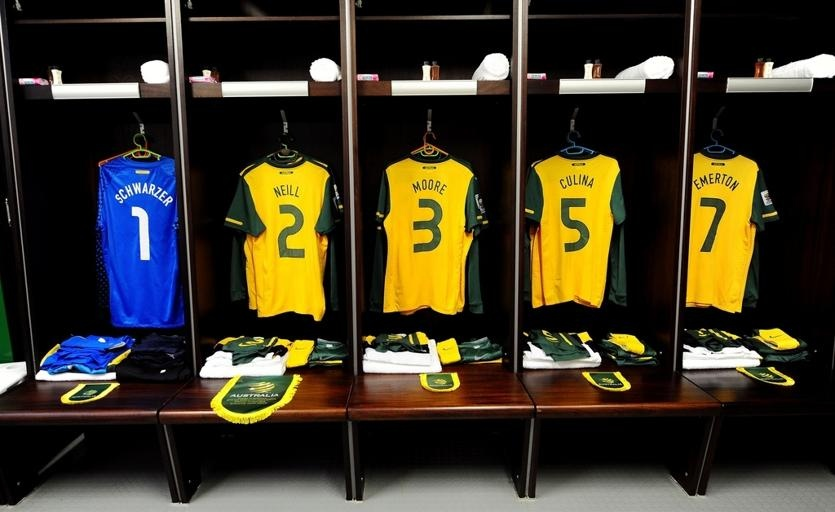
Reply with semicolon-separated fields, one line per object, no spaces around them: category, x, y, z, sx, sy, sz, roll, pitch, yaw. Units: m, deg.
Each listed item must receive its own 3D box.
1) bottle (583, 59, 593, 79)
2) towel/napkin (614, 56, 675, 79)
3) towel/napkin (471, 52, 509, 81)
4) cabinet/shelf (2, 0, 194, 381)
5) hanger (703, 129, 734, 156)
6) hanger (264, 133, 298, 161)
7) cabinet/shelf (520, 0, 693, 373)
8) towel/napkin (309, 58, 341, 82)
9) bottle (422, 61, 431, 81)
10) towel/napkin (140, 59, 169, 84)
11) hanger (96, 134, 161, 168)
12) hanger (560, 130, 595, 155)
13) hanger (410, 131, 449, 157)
bottle;1.132;-1.224;4.221;0.052;0.143;0.237;0;7;14
towel/napkin;1.504;-1.206;4.139;0.274;0.070;0.260;-9;12;-36
towel/napkin;0.487;-1.216;4.175;0.247;0.188;0.075;0;12;8
cabinet/shelf;-2.072;-0.469;4.300;1.165;2.434;0.677;-3;9;-7
hanger;2.091;-0.796;4.452;0.281;0.148;0.124;1;12;14
hanger;-0.948;-0.762;4.436;0.321;0.240;0.021;1;2;5
cabinet/shelf;1.308;-0.463;4.400;1.098;2.393;0.596;1;9;17
towel/napkin;-0.600;-1.210;4.163;0.187;0.176;0.176;-2;8;-7
bottle;0.059;-1.199;4.159;0.046;0.133;0.113;-1;8;4
towel/napkin;-1.700;-1.194;4.151;0.234;0.159;0.125;-1;8;4
hanger;-1.933;-0.739;4.433;0.674;0.187;0.043;-1;10;14
hanger;1.119;-0.793;4.461;0.296;0.137;0.005;0;7;8
hanger;0.090;-0.784;4.459;0.293;0.128;0.025;0;12;0
